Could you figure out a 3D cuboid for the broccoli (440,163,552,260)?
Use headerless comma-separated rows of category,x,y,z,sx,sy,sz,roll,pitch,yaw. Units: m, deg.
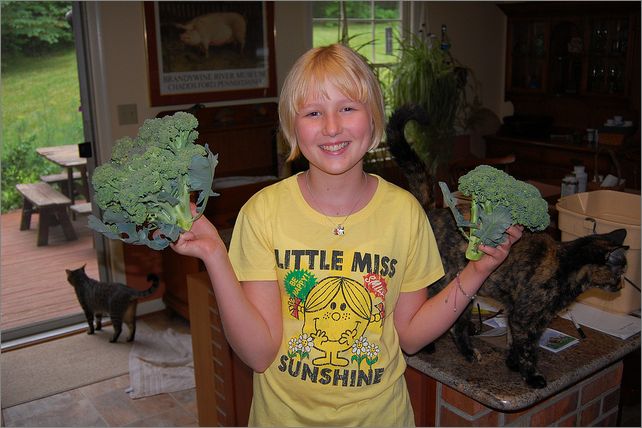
broccoli,0.577,0.037,1.686,0.318,0.277,0.322,-34,56,-14

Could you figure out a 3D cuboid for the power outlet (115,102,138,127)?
power outlet,-1.767,-0.902,4.342,0.200,0.219,0.021,-6,11,-34

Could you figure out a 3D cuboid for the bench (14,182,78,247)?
bench,-3.365,-0.053,5.841,0.443,0.739,0.851,-13,18,-42

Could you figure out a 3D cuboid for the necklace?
necklace,0.037,-0.005,1.595,0.132,0.258,0.032,-1,-14,0

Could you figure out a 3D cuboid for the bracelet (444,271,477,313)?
bracelet,0.461,0.267,1.595,0.090,0.132,0.105,-8,14,10

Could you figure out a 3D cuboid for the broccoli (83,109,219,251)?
broccoli,-0.524,-0.072,1.517,0.441,0.348,0.418,-29,8,0

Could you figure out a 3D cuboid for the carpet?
carpet,-1.340,1.230,3.984,0.461,0.034,0.745,1,22,-18

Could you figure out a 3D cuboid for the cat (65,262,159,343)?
cat,-1.941,0.805,4.360,0.938,0.667,0.226,10,8,17
